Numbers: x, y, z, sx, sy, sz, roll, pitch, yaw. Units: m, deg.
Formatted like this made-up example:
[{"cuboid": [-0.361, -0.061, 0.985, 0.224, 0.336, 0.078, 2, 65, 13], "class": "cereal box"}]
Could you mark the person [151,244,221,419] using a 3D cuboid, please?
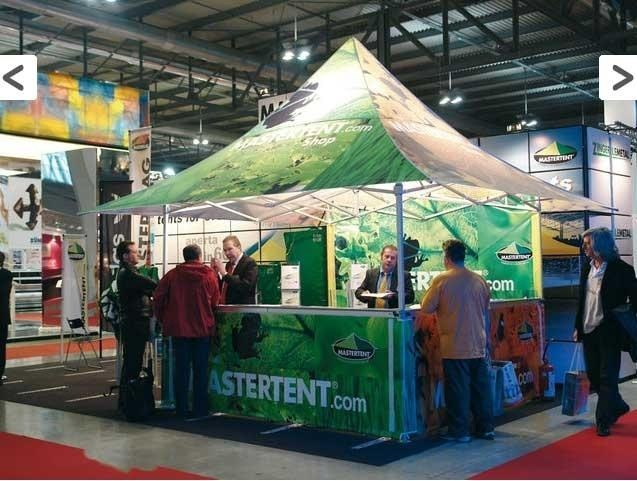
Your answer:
[{"cuboid": [-1.518, 1.020, 7.942, 0.735, 1.337, 0.336, -1, 1, -10], "class": "person"}]

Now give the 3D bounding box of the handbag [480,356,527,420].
[{"cuboid": [1.993, 1.609, 7.522, 0.294, 0.722, 0.803, -9, -2, 39], "class": "handbag"}]

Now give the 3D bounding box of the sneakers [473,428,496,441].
[{"cuboid": [1.674, 1.952, 6.965, 0.235, 0.096, 0.082, -2, 7, 13], "class": "sneakers"}]

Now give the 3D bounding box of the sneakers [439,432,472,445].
[{"cuboid": [1.353, 1.928, 6.801, 0.289, 0.117, 0.105, -4, -5, 25], "class": "sneakers"}]

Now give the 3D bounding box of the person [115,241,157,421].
[{"cuboid": [-2.173, 1.004, 8.259, 0.454, 1.516, 0.856, -1, 1, -15], "class": "person"}]

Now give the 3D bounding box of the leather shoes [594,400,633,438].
[{"cuboid": [3.021, 1.829, 7.179, 0.616, 0.244, 0.197, -4, 2, -41], "class": "leather shoes"}]

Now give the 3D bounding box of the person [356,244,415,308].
[{"cuboid": [0.754, 0.593, 8.220, 0.691, 1.001, 0.586, 6, -1, 18], "class": "person"}]

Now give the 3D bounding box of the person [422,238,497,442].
[{"cuboid": [1.406, 0.986, 6.977, 0.759, 1.982, 0.438, -1, 1, -5], "class": "person"}]
